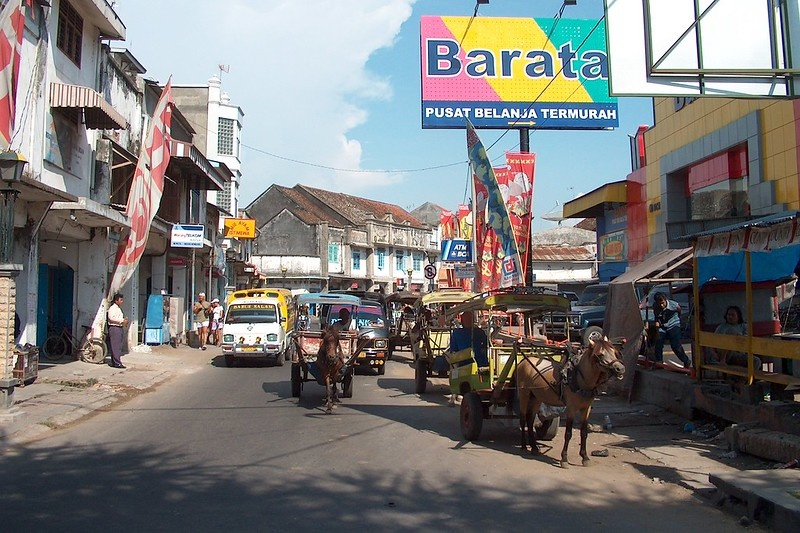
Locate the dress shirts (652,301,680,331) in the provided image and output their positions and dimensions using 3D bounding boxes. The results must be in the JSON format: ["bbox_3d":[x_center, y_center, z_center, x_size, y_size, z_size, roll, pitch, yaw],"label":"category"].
[{"bbox_3d":[7.593,1.407,19.656,0.631,0.771,0.416,-28,-22,38],"label":"dress shirts"}]

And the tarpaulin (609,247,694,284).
[{"bbox_3d":[6.668,-0.051,18.131,1.298,0.975,2.893,1,-9,0],"label":"tarpaulin"}]

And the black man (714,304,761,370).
[{"bbox_3d":[7.934,1.632,16.249,0.922,1.606,2.077,-2,-10,25],"label":"black man"}]

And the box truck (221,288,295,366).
[{"bbox_3d":[-5.072,2.164,25.332,1.575,1.969,3.414,-1,-6,-2],"label":"box truck"}]

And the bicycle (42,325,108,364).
[{"bbox_3d":[-10.744,2.676,23.401,2.159,1.489,1.118,4,-3,6],"label":"bicycle"}]

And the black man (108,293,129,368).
[{"bbox_3d":[-9.001,2.076,21.993,0.606,2.345,1.156,4,-8,-21],"label":"black man"}]

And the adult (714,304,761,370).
[{"bbox_3d":[7.934,1.631,16.241,0.927,1.606,2.122,-2,-10,25],"label":"adult"}]

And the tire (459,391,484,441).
[{"bbox_3d":[1.548,3.218,14.758,0.304,1.175,1.003,1,1,-13],"label":"tire"}]

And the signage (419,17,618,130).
[{"bbox_3d":[4.966,-8.312,29.687,8.270,5.079,0.612,0,-10,-1],"label":"signage"}]

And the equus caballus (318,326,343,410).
[{"bbox_3d":[-1.725,2.545,17.187,0.622,2.116,1.055,2,-8,-5],"label":"equus caballus"}]

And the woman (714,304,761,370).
[{"bbox_3d":[7.934,1.632,16.249,0.922,1.606,2.077,-2,-10,25],"label":"woman"}]

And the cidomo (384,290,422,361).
[{"bbox_3d":[0.110,2.429,30.293,1.448,1.808,2.786,0,-7,0],"label":"cidomo"}]

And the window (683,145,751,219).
[{"bbox_3d":[12.476,-2.876,26.908,1.191,2.505,2.546,5,-12,-38],"label":"window"}]

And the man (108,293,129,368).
[{"bbox_3d":[-9.011,2.078,22.006,0.591,2.345,1.190,4,-8,-20],"label":"man"}]

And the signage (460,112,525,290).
[{"bbox_3d":[2.866,-1.986,21.789,0.263,5.495,2.115,0,-10,-36],"label":"signage"}]

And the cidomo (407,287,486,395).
[{"bbox_3d":[1.608,2.152,22.349,2.084,2.910,4.455,4,6,8],"label":"cidomo"}]

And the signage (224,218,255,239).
[{"bbox_3d":[-9.701,-2.368,41.814,1.928,1.380,1.095,1,-1,-5],"label":"signage"}]

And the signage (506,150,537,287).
[{"bbox_3d":[4.320,-1.732,25.810,1.101,5.138,0.063,-1,19,-7],"label":"signage"}]

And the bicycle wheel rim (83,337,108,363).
[{"bbox_3d":[-10.031,2.758,22.751,0.721,0.783,0.301,16,-2,3],"label":"bicycle wheel rim"}]

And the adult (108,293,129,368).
[{"bbox_3d":[-9.011,2.078,22.006,0.591,2.345,1.190,4,-8,-20],"label":"adult"}]

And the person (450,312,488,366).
[{"bbox_3d":[1.662,1.643,16.492,0.811,1.537,0.853,2,32,21],"label":"person"}]

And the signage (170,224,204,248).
[{"bbox_3d":[-9.118,-1.331,29.562,0.978,0.868,0.152,1,-8,-3],"label":"signage"}]

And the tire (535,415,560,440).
[{"bbox_3d":[3.087,3.394,14.525,0.265,0.691,0.654,2,-4,-13],"label":"tire"}]
